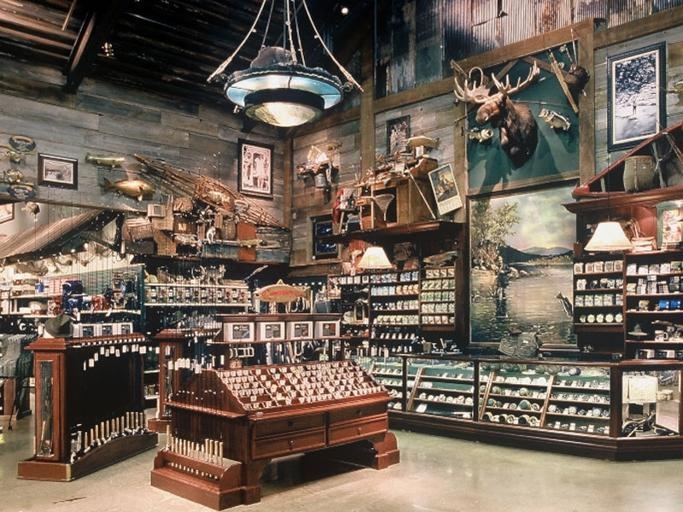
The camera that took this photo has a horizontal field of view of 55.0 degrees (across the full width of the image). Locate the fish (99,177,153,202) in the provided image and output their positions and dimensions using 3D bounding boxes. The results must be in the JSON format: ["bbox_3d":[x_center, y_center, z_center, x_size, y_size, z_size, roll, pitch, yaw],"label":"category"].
[{"bbox_3d":[-4.002,-1.275,12.354,0.962,0.422,0.325,4,3,-33],"label":"fish"}]

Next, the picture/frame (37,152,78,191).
[{"bbox_3d":[-5.027,-1.498,11.665,0.686,0.620,0.078,4,-19,-31],"label":"picture/frame"}]

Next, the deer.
[{"bbox_3d":[2.556,-2.383,10.984,1.348,1.768,1.051,2,5,41],"label":"deer"}]
